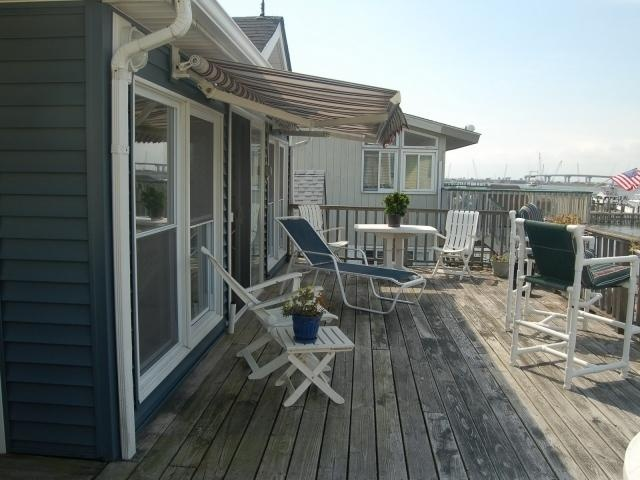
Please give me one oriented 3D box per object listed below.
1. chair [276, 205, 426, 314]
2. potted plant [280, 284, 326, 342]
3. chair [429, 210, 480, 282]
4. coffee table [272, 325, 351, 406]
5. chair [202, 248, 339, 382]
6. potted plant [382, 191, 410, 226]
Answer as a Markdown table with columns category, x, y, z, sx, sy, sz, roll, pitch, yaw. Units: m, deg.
| category | x | y | z | sx | sy | sz | roll | pitch | yaw |
| --- | --- | --- | --- | --- | --- | --- | --- | --- | --- |
| chair | 0.757 | 0.300 | 6.666 | 2.570 | 1.440 | 0.981 | 4 | 6 | 34 |
| potted plant | -0.123 | 0.572 | 3.853 | 0.286 | 0.426 | 0.356 | -3 | 9 | -23 |
| chair | 2.366 | 0.076 | 8.472 | 0.697 | 1.171 | 0.861 | 3 | 8 | 33 |
| coffee table | -0.070 | 0.945 | 3.913 | 0.549 | 0.489 | 0.594 | -1 | 5 | -7 |
| chair | -0.553 | 0.606 | 4.661 | 1.318 | 1.324 | 0.957 | -3 | 10 | -14 |
| potted plant | 1.339 | -0.522 | 8.174 | 0.546 | 0.640 | 0.478 | -3 | 4 | -36 |
